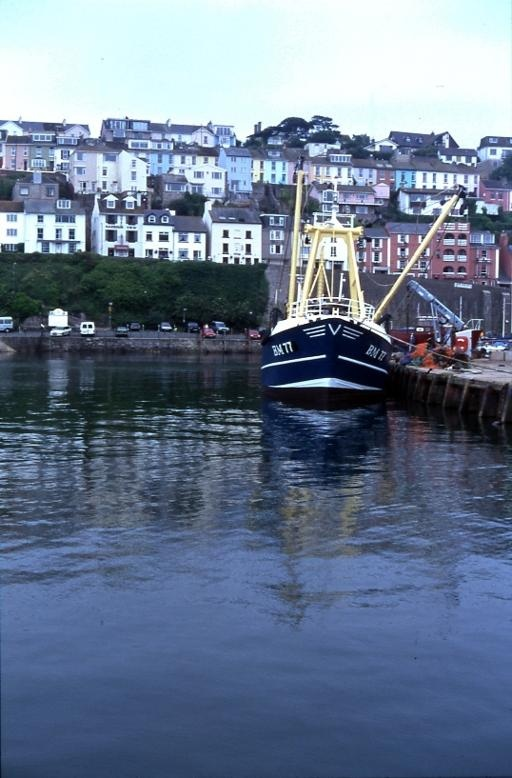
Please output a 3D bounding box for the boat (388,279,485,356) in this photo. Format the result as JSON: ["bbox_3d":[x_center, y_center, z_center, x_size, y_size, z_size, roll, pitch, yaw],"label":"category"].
[{"bbox_3d":[7.906,-3.000,53.589,4.840,3.632,1.471,1,5,4],"label":"boat"}]
